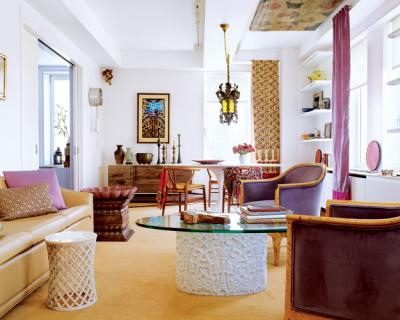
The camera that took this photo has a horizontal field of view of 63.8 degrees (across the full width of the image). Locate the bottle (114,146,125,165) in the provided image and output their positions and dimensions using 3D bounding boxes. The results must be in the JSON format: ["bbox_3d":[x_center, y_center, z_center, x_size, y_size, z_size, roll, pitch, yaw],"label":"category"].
[{"bbox_3d":[-1.623,-0.097,6.522,0.200,0.383,0.335,-1,3,-14],"label":"bottle"}]

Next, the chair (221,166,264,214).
[{"bbox_3d":[0.520,0.356,4.468,0.602,0.943,0.617,1,0,8],"label":"chair"}]

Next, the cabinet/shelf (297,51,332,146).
[{"bbox_3d":[2.103,-1.083,5.840,0.448,1.561,0.862,0,3,5],"label":"cabinet/shelf"}]

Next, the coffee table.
[{"bbox_3d":[0.133,0.725,2.445,1.005,0.583,0.464,0,3,7],"label":"coffee table"}]

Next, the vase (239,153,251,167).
[{"bbox_3d":[0.754,-0.025,5.368,0.236,0.309,0.255,0,-6,9],"label":"vase"}]

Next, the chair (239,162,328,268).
[{"bbox_3d":[0.911,0.553,3.552,0.809,1.086,0.801,3,-2,-33],"label":"chair"}]

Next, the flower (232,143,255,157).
[{"bbox_3d":[0.727,-0.157,5.210,0.252,0.177,0.240,-2,-2,43],"label":"flower"}]

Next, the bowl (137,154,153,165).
[{"bbox_3d":[-1.111,-0.018,6.455,0.328,0.232,0.217,-1,3,-11],"label":"bowl"}]

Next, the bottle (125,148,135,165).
[{"bbox_3d":[-1.436,-0.068,6.562,0.176,0.332,0.318,-1,3,-12],"label":"bottle"}]

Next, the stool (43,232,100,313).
[{"bbox_3d":[-0.954,0.822,2.355,0.309,0.442,0.325,6,-10,-37],"label":"stool"}]

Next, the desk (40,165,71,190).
[{"bbox_3d":[-2.548,0.335,5.744,0.512,0.224,0.649,5,39,-23],"label":"desk"}]
